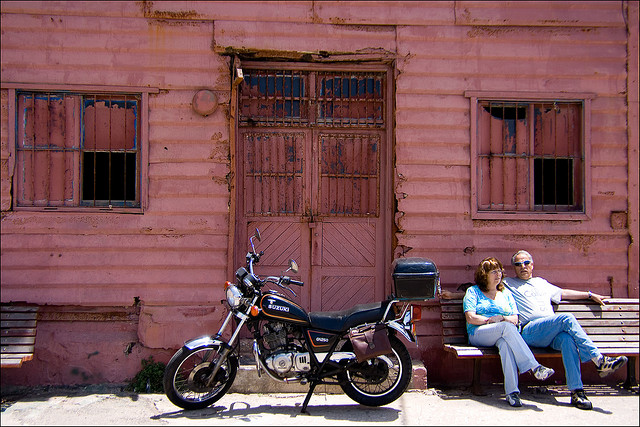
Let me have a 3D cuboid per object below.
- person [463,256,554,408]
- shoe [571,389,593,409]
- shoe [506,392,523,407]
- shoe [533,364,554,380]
[{"bbox_3d":[2.394,1.528,9.698,1.002,1.882,0.485,0,-2,19],"label":"person"},{"bbox_3d":[3.326,2.348,9.398,0.248,0.232,0.095,0,-2,20],"label":"shoe"},{"bbox_3d":[2.480,2.359,9.424,0.095,0.123,0.289,3,12,2],"label":"shoe"},{"bbox_3d":[2.839,2.018,9.395,0.250,0.123,0.157,5,47,52],"label":"shoe"}]
